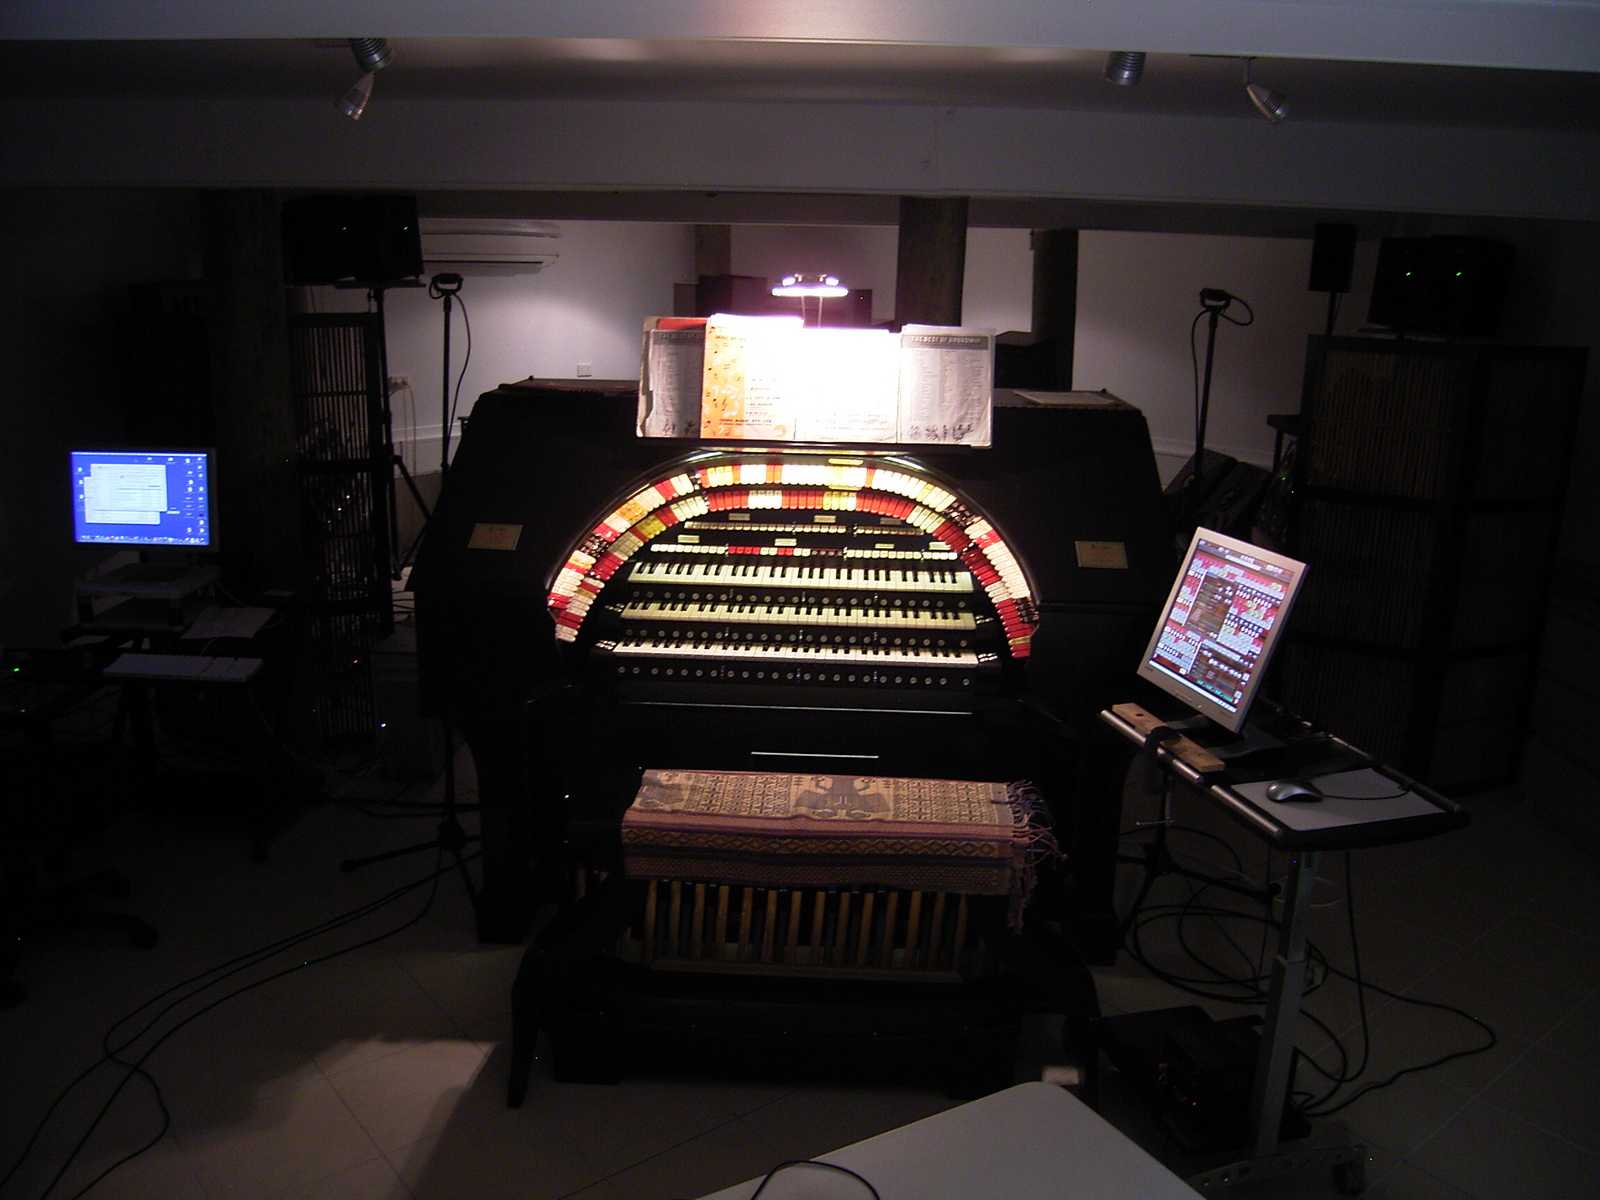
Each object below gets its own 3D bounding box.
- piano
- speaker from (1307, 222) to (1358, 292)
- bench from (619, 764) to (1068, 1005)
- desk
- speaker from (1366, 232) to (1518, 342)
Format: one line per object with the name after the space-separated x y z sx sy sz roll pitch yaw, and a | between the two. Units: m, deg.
0.002 0.242 4.780 2.116 1.414 0.827 1 16 2 | piano
2.880 -1.838 7.123 0.202 0.363 0.297 5 16 17 | speaker
0.122 1.274 4.821 1.598 0.624 0.634 1 21 0 | bench
1.501 0.977 4.298 0.993 1.527 1.392 9 33 16 | desk
3.231 -1.547 6.565 0.616 0.550 0.318 14 17 41 | speaker
